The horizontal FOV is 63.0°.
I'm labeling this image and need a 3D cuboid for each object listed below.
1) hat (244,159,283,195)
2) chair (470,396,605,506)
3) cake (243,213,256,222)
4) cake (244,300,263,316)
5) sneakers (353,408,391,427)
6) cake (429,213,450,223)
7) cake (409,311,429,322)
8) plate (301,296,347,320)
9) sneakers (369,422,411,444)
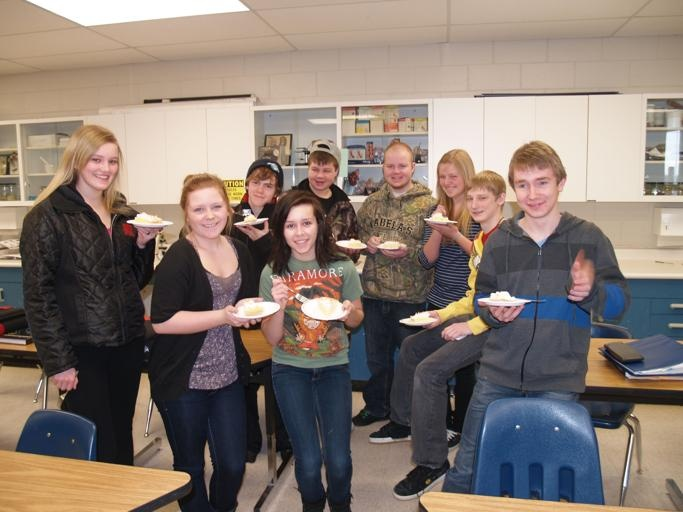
[{"bbox_3d":[-0.570,-0.620,4.331,0.243,0.120,0.297,9,12,-9],"label":"hat"},{"bbox_3d":[0.890,0.843,2.728,0.545,0.546,0.506,1,6,10],"label":"chair"},{"bbox_3d":[-0.659,-0.273,3.981,0.069,0.039,0.065,0,1,-3],"label":"cake"},{"bbox_3d":[-0.443,0.264,2.778,0.102,0.049,0.134,-1,6,2],"label":"cake"},{"bbox_3d":[0.256,1.288,4.443,0.345,0.132,0.114,2,0,-5],"label":"sneakers"},{"bbox_3d":[0.655,-0.245,3.698,0.097,0.030,0.096,-1,4,-44],"label":"cake"},{"bbox_3d":[0.493,0.387,3.541,0.091,0.039,0.112,-2,-2,2],"label":"cake"},{"bbox_3d":[-0.075,0.294,2.894,0.229,0.138,0.218,2,7,22],"label":"plate"},{"bbox_3d":[0.365,1.340,4.241,0.394,0.152,0.136,2,-2,-4],"label":"sneakers"}]
